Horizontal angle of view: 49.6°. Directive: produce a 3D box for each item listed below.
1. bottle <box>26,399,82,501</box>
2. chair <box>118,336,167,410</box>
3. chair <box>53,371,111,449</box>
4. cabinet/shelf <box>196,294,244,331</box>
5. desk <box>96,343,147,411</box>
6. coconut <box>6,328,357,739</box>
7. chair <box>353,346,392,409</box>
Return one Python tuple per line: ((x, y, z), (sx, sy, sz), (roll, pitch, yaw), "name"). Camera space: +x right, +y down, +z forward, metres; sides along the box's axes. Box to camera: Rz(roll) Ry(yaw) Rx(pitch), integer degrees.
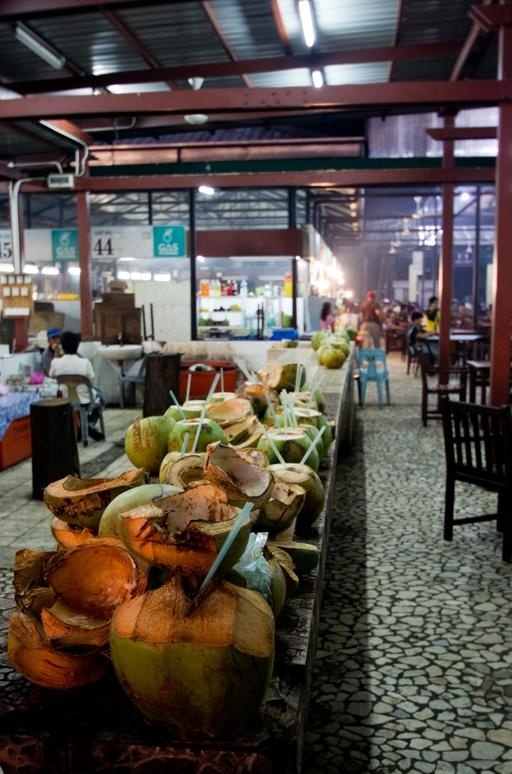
((-1.316, 0.383, 3.549), (0.382, 0.679, 0.399), (2, 9, 0), "bottle")
((-1.779, -0.105, 8.325), (0.648, 1.254, 0.697), (4, 5, 0), "chair")
((-1.813, 0.185, 5.859), (0.453, 1.002, 0.496), (0, 1, -1), "chair")
((-0.623, -1.287, 9.694), (0.680, 0.462, 0.227), (-1, -5, -1), "cabinet/shelf")
((-2.066, -0.155, 8.330), (0.885, 1.320, 0.914), (0, 0, 1), "desk")
((-0.086, 0.155, 0.658), (0.217, 0.157, 0.411), (-2, 11, 4), "coconut")
((1.713, -0.170, 7.926), (0.447, 0.769, 1.084), (0, 7, 14), "chair")
